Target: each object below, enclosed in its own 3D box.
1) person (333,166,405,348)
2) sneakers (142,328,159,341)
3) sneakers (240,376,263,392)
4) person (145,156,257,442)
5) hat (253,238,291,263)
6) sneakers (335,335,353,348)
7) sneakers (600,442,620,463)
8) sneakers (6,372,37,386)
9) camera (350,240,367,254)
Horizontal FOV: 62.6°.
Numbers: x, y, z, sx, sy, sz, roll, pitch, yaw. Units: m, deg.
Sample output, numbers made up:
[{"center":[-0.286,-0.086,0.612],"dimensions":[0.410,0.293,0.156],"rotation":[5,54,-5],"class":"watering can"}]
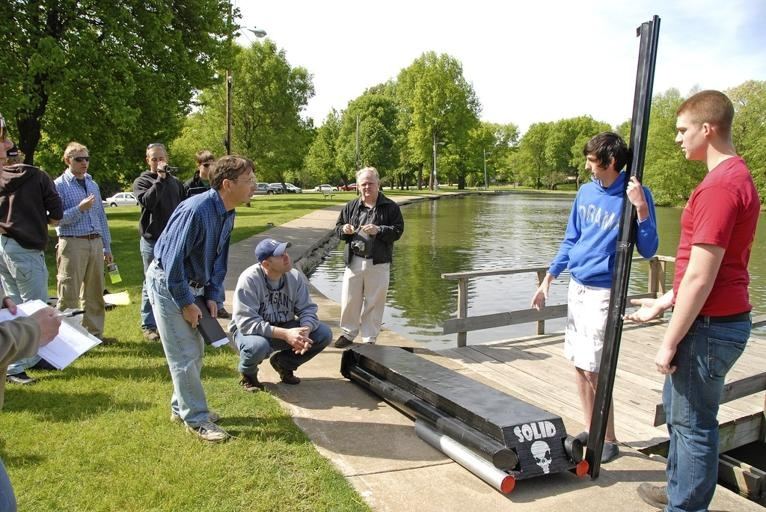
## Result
[{"center":[-0.215,0.063,8.904],"dimensions":[0.925,2.548,0.950],"rotation":[2,15,-3],"class":"person"},{"center":[-3.243,1.103,8.849],"dimensions":[0.138,0.156,0.386],"rotation":[2,3,-45],"class":"sneakers"},{"center":[-1.519,1.473,7.302],"dimensions":[0.269,0.245,0.135],"rotation":[1,4,31],"class":"sneakers"},{"center":[-1.868,0.373,6.338],"dimensions":[0.920,2.722,0.737],"rotation":[10,16,25],"class":"person"},{"center":[-1.264,-0.078,7.117],"dimensions":[0.378,0.176,0.254],"rotation":[-21,15,9],"class":"hat"},{"center":[-0.556,1.200,8.882],"dimensions":[0.251,0.146,0.360],"rotation":[2,14,-2],"class":"sneakers"},{"center":[2.187,1.908,6.098],"dimensions":[0.116,0.108,0.293],"rotation":[-2,-3,38],"class":"sneakers"},{"center":[-4.151,1.428,7.254],"dimensions":[0.309,0.137,0.123],"rotation":[3,2,-8],"class":"sneakers"},{"center":[-0.341,-0.109,8.736],"dimensions":[0.170,0.173,0.203],"rotation":[11,-27,-6],"class":"camera"}]
